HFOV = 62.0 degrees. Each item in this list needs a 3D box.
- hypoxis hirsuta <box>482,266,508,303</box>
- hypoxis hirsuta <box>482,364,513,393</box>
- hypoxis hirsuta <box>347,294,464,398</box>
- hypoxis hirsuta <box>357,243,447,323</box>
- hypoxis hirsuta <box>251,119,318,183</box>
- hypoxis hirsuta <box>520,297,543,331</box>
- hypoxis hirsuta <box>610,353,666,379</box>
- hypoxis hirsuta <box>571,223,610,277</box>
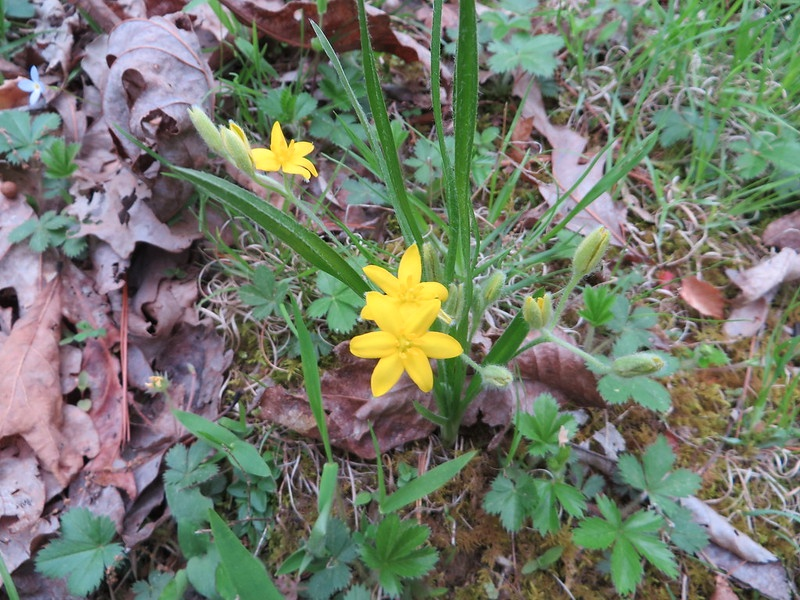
[{"bbox_3d":[0.404,-0.059,2.855,0.078,0.146,0.060,27,27,9],"label":"hypoxis hirsuta"},{"bbox_3d":[0.395,0.328,2.757,0.112,0.197,0.112,-12,68,-2],"label":"hypoxis hirsuta"},{"bbox_3d":[0.005,0.140,2.599,0.079,0.462,0.458,12,68,-40],"label":"hypoxis hirsuta"},{"bbox_3d":[0.035,-0.007,2.731,0.355,0.408,0.122,-8,47,22],"label":"hypoxis hirsuta"},{"bbox_3d":[-0.500,-0.655,2.907,0.257,0.253,0.130,21,78,-20],"label":"hypoxis hirsuta"},{"bbox_3d":[0.547,0.064,2.753,0.068,0.117,0.069,-32,38,-13],"label":"hypoxis hirsuta"},{"bbox_3d":[0.991,0.277,2.773,0.117,0.149,0.079,-1,79,-38],"label":"hypoxis hirsuta"},{"bbox_3d":[0.877,-0.216,3.068,0.097,0.300,0.098,22,51,9],"label":"hypoxis hirsuta"}]
